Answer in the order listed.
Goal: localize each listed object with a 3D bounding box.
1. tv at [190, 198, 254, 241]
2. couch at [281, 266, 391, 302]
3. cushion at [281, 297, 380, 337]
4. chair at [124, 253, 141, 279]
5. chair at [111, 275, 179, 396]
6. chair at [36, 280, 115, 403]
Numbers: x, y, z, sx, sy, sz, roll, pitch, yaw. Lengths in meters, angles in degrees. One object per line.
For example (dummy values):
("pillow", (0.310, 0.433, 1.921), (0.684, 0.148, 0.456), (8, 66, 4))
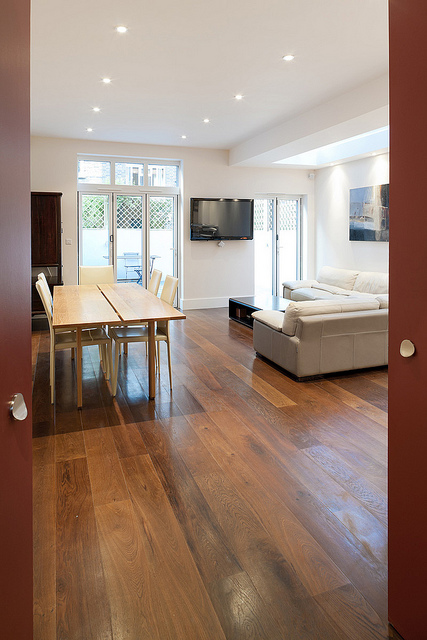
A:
("tv", (0.169, -1.871, 7.880), (1.248, 0.756, 0.091), (-3, 8, -21))
("couch", (2.009, -0.566, 6.954), (1.265, 0.552, 1.787), (-1, 9, -6))
("cushion", (1.066, -0.028, 3.950), (0.879, 0.297, 0.289), (-3, 8, -19))
("chair", (-1.489, -1.027, 7.677), (0.281, 0.530, 0.327), (-2, 7, -19))
("chair", (-0.652, 0.037, 3.892), (0.691, 1.073, 0.681), (24, 27, 39))
("chair", (-1.184, 0.011, 3.392), (0.344, 0.592, 0.346), (-6, -3, -32))
